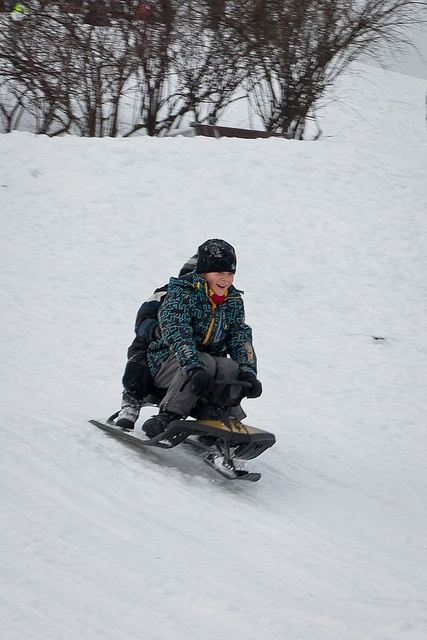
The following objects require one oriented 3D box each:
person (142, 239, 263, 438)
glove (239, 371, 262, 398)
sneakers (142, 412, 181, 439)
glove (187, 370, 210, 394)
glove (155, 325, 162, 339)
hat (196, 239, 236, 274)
[{"bbox_3d":[-0.043,0.092,3.484,0.542,0.926,0.616,4,14,-5],"label":"person"},{"bbox_3d":[0.168,0.312,3.484,0.109,0.118,0.195,6,13,1],"label":"glove"},{"bbox_3d":[-0.248,0.502,3.395,0.174,0.133,0.189,4,13,-4],"label":"sneakers"},{"bbox_3d":[-0.074,0.276,3.254,0.091,0.100,0.050,2,15,4],"label":"glove"},{"bbox_3d":[-0.288,0.061,3.679,0.048,0.056,0.023,-5,-13,24],"label":"glove"},{"bbox_3d":[0.008,-0.310,3.569,0.186,0.169,0.201,4,13,-3],"label":"hat"}]
